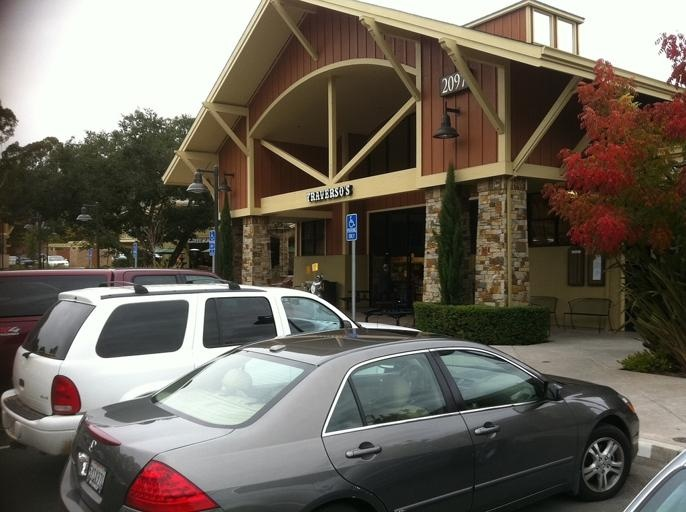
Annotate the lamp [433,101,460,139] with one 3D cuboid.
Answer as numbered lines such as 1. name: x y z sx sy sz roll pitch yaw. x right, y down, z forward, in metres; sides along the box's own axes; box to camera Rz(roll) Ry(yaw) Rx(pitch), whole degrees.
1. lamp: 3.064 -3.930 16.237 0.764 0.902 0.807 2 -2 -20
